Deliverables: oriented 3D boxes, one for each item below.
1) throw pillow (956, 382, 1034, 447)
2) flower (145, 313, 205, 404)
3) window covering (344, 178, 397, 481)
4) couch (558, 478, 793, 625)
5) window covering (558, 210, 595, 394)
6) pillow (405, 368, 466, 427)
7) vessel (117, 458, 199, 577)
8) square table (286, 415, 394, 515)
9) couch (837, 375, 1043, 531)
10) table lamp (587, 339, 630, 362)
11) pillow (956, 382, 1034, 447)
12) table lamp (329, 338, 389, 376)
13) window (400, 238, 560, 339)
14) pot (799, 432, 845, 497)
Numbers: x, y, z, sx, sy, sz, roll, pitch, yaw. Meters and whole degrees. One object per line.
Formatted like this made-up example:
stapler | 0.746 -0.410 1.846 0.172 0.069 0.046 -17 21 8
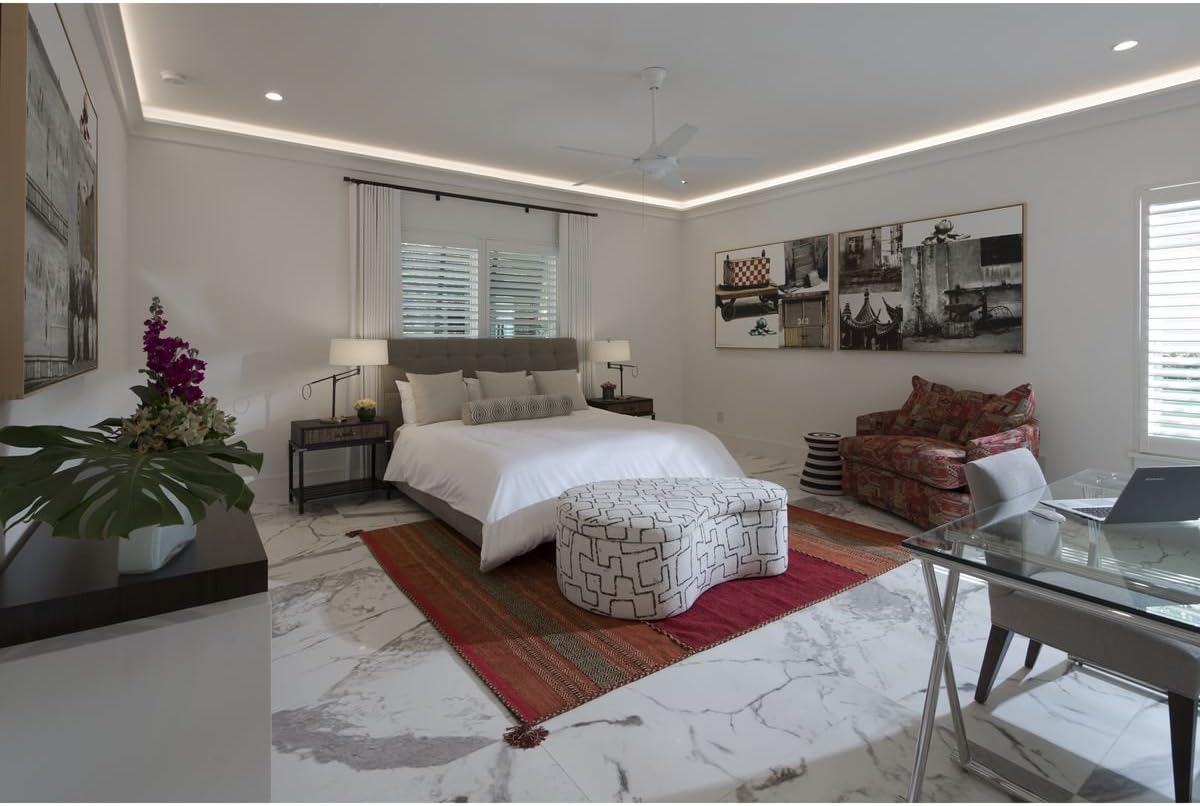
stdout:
throw pillow | 3.101 0.101 5.113 0.417 0.472 0.415 -5 9 -28
flower | -1.495 -0.161 2.312 0.156 0.308 0.485 -6 9 -33
window covering | -2.101 -1.246 5.918 0.375 1.544 0.112 2 35 -23
couch | 0.245 0.679 3.951 1.193 0.415 0.754 -4 4 -33
window covering | -0.246 -1.188 7.243 0.439 1.780 0.166 17 25 34
pillow | -1.419 -0.021 5.674 0.448 0.384 0.154 -9 -18 -38
vessel | -1.300 0.331 1.922 0.119 0.309 0.349 -1 2 2
square table | -2.221 0.505 5.594 0.760 0.655 0.395 -4 7 -40
couch | 2.706 0.387 5.297 1.222 1.072 1.153 0 10 -19
table lamp | 0.093 -0.552 7.084 0.413 0.241 0.475 -1 8 -3
pillow | 3.101 0.101 5.113 0.417 0.472 0.415 -5 9 -28
table lamp | -1.995 -0.426 5.450 0.426 0.211 0.177 -4 8 -23
window | -1.248 -1.140 6.496 1.203 0.785 0.051 -2 6 -36
pot | 1.988 0.559 5.849 0.481 0.493 0.464 -1 2 0
